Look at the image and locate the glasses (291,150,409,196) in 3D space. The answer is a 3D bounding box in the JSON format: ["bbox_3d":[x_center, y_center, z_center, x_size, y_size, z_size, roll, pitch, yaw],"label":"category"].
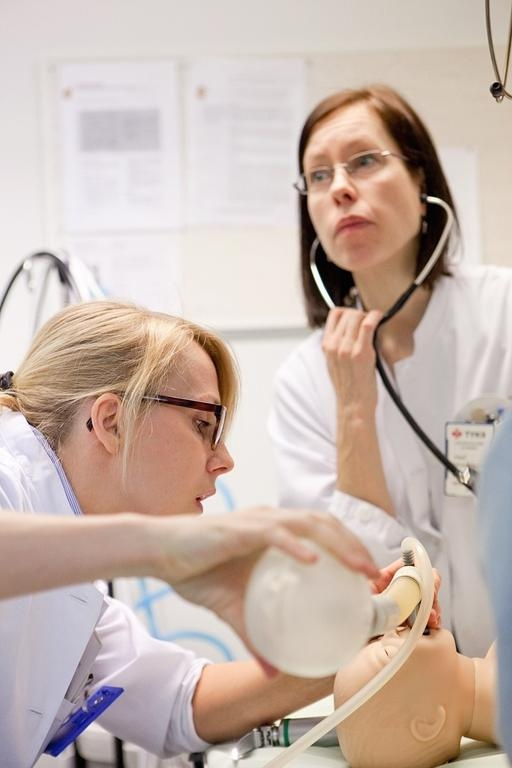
[{"bbox_3d":[0.129,-0.342,1.262,0.188,0.063,0.115,8,15,44],"label":"glasses"}]
